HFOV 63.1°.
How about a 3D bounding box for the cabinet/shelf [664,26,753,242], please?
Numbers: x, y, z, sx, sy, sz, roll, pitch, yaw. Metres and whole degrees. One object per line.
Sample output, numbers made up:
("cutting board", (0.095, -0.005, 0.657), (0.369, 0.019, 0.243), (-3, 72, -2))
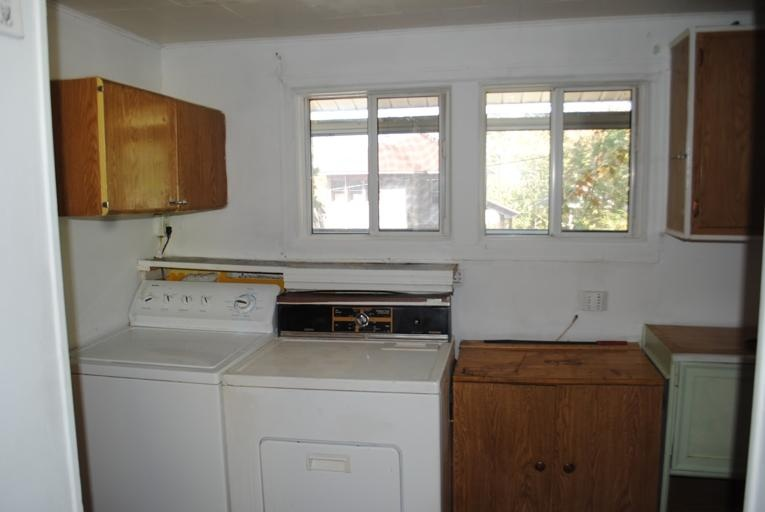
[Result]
("cabinet/shelf", (1.667, -0.628, 3.254), (0.509, 1.076, 0.280), (8, 8, 44))

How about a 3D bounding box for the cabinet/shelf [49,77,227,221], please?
("cabinet/shelf", (-1.361, -0.585, 3.636), (0.372, 0.668, 1.155), (3, 5, 16))
